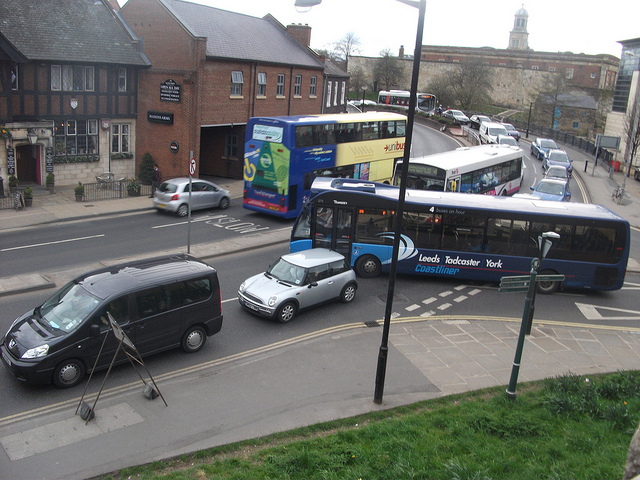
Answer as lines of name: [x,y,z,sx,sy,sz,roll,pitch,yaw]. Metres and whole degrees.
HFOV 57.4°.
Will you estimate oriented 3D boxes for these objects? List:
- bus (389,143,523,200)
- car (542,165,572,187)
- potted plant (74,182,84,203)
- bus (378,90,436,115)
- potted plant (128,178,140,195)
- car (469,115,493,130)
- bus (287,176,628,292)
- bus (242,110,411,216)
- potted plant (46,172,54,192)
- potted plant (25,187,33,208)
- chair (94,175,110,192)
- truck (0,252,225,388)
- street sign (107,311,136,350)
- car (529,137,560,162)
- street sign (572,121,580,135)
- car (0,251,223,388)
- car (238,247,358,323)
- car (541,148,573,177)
bus: [9.162,-3.614,35.799,2.989,3.343,11.835,15,21,38]
car: [16.804,-4.557,41.751,2.722,1.246,1.490,-3,11,-41]
potted plant: [-14.040,-2.678,33.833,0.741,1.078,0.433,10,15,30]
bus: [12.597,-20.334,86.748,8.021,2.799,5.913,8,14,20]
potted plant: [-11.576,-3.265,36.432,0.736,0.805,0.784,2,14,-2]
car: [19.485,-14.103,72.440,4.086,1.614,1.859,-16,27,-34]
bus: [6.056,-0.597,25.642,14.118,4.132,3.821,4,30,-4]
bus: [1.202,-4.915,36.011,3.636,5.903,12.537,15,20,38]
potted plant: [-16.518,-3.449,35.702,0.397,1.112,0.552,-5,14,-29]
potted plant: [-15.944,-2.278,31.921,0.356,1.052,0.559,-5,15,-29]
chair: [-13.869,-3.524,37.131,0.710,1.090,2.555,-2,-3,-7]
truck: [-6.056,2.176,17.179,5.774,2.605,3.230,-8,21,-34]
street sign: [-5.506,2.457,16.067,0.099,0.685,1.210,-40,43,-5]
car: [21.912,-8.589,56.875,2.150,2.212,4.225,1,12,6]
street sign: [43.217,-19.020,98.886,1.096,1.260,0.652,6,13,15]
car: [-5.933,2.112,17.080,5.606,2.509,3.146,-9,26,-37]
car: [-0.865,1.485,20.921,3.580,1.637,2.196,-10,28,-35]
car: [19.313,-6.002,47.742,2.269,2.054,5.052,5,11,17]
